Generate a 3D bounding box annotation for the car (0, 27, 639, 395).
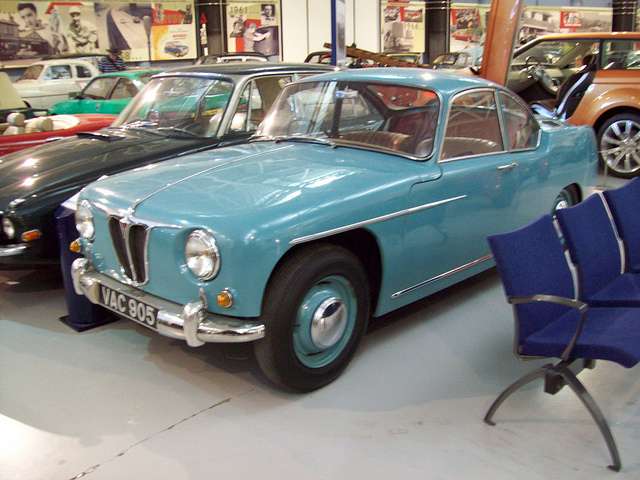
[{"bbox_3d":[0.487,-0.261,3.488,4.132,1.363,2.095,-10,11,-33],"label":"car"}]
